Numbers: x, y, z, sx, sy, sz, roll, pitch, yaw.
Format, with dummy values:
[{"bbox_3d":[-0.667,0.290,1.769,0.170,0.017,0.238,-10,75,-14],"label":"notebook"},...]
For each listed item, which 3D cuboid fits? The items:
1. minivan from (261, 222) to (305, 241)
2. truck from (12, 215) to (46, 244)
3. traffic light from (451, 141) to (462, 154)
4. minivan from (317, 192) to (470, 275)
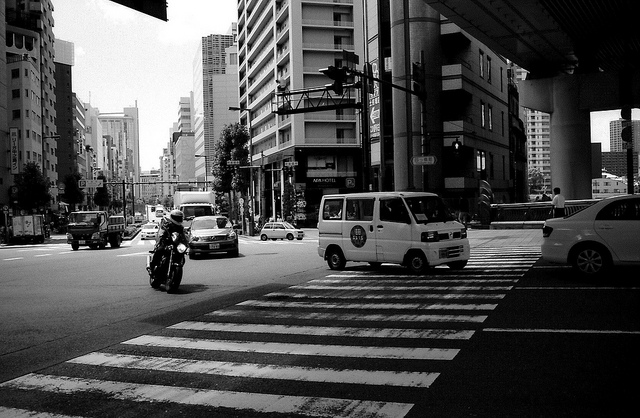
[{"bbox_3d":[-3.105,1.744,47.170,2.600,1.290,1.594,-3,-2,24],"label":"minivan"},{"bbox_3d":[-22.642,1.647,46.937,1.208,2.551,3.055,-2,7,-3],"label":"truck"},{"bbox_3d":[6.608,-2.970,29.316,0.402,0.626,1.075,0,7,10],"label":"traffic light"},{"bbox_3d":[2.341,0.729,19.746,4.065,2.200,2.521,-4,-3,42],"label":"minivan"}]
